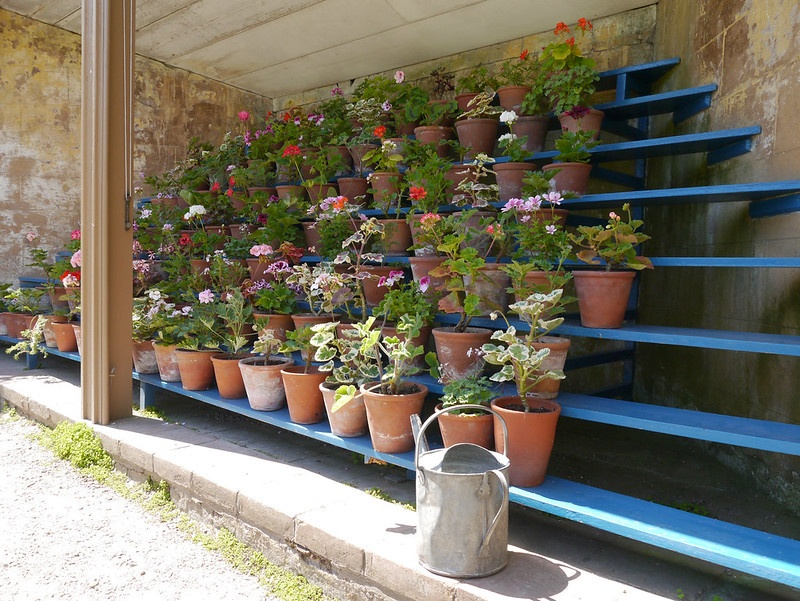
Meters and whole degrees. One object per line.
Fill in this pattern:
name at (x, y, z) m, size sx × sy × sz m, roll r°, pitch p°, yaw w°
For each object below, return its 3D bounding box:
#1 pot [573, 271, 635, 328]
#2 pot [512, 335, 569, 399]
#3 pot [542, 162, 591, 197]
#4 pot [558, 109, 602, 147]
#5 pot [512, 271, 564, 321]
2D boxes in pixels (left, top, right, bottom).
pot at (1.119, 0.002, 3.341) m, size 0.401 × 0.264 × 0.374 m, roll 0°, pitch -5°, yaw 0°
pot at (0.717, 0.395, 3.255) m, size 0.397 × 0.285 × 0.348 m, roll -6°, pitch -2°, yaw 22°
pot at (1.056, -0.771, 3.825) m, size 0.308 × 0.153 × 0.263 m, roll -1°, pitch 3°, yaw -14°
pot at (1.208, -1.121, 3.998) m, size 0.367 × 0.172 × 0.309 m, roll 0°, pitch 5°, yaw 1°
pot at (0.738, -0.044, 3.222) m, size 0.235 × 0.130 × 0.214 m, roll 0°, pitch 9°, yaw 0°
